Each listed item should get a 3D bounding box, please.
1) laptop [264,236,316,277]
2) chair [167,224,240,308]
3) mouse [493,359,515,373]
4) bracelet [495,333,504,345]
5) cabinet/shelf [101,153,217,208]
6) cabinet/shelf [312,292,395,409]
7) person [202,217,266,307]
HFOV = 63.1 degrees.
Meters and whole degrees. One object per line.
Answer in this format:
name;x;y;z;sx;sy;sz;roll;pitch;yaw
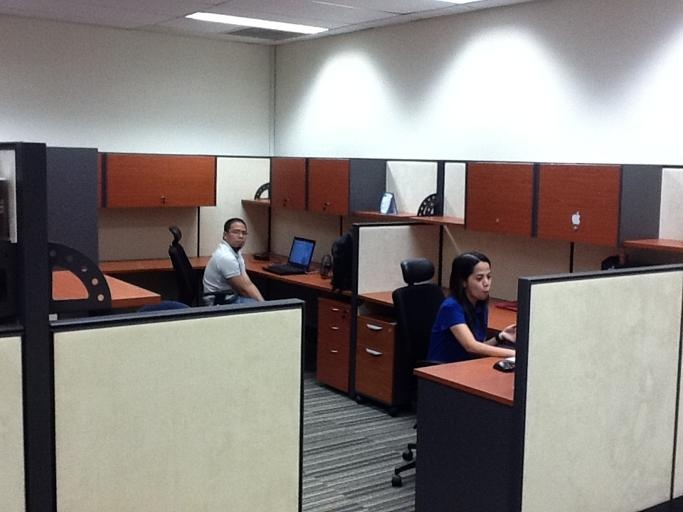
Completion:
laptop;-0.505;0.020;5.717;0.369;0.335;0.434;1;6;-31
chair;-1.333;0.092;5.313;0.549;1.034;0.612;-6;16;-7
mouse;0.838;0.552;2.836;0.063;0.032;0.087;5;7;29
bracelet;0.936;0.500;3.302;0.066;0.069;0.068;0;2;1
cabinet/shelf;-1.966;-0.811;5.940;1.063;0.532;0.156;-3;9;-24
cabinet/shelf;0.126;0.802;4.641;0.374;0.871;0.887;-2;6;-36
person;-0.940;0.212;4.988;0.564;1.040;0.416;0;0;25
